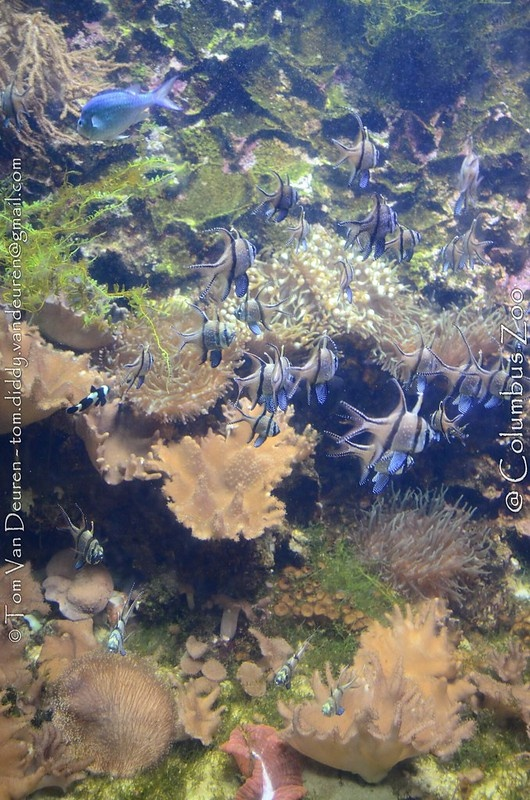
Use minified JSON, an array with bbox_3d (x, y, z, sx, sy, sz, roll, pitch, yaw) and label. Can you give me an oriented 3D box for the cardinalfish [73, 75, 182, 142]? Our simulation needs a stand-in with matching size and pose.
[{"bbox_3d":[-1.061,-2.246,6.207,0.664,0.520,0.375,7,20,-10],"label":"cardinalfish"}]
